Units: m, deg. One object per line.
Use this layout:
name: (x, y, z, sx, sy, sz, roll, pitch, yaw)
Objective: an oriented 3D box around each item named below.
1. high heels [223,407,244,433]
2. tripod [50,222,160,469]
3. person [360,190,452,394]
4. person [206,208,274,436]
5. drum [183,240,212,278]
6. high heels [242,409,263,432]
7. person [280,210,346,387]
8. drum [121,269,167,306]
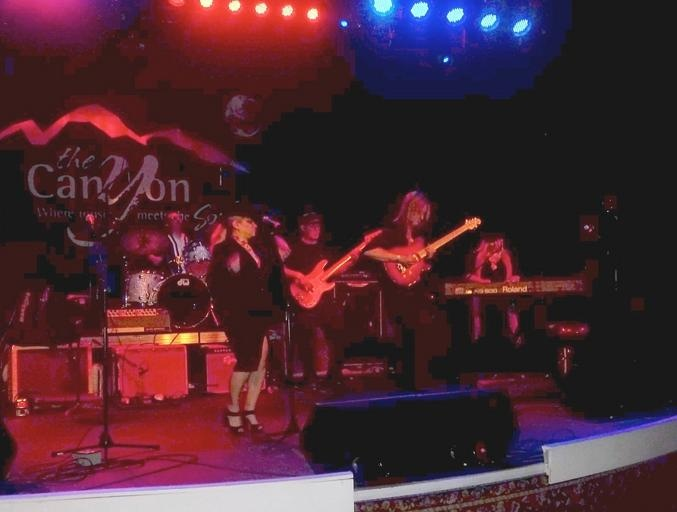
high heels: (-0.808, 1.255, 5.262, 0.083, 0.103, 0.242, 11, -8, -35)
tripod: (-1.818, 0.607, 5.279, 0.648, 1.800, 0.813, 7, -16, -37)
person: (0.598, 0.292, 5.935, 0.644, 1.648, 0.329, -4, -13, 8)
person: (-0.754, 0.443, 5.451, 0.438, 1.833, 0.588, -9, -14, 26)
drum: (-1.255, 0.014, 6.038, 0.256, 0.130, 0.347, -3, -8, -16)
high heels: (-0.659, 1.264, 5.289, 0.136, 0.168, 0.117, 6, -15, -32)
person: (-0.236, 0.367, 5.895, 0.435, 1.422, 0.426, -6, -13, 15)
drum: (-1.613, 0.276, 5.643, 0.269, 0.238, 0.307, 8, -13, -30)
